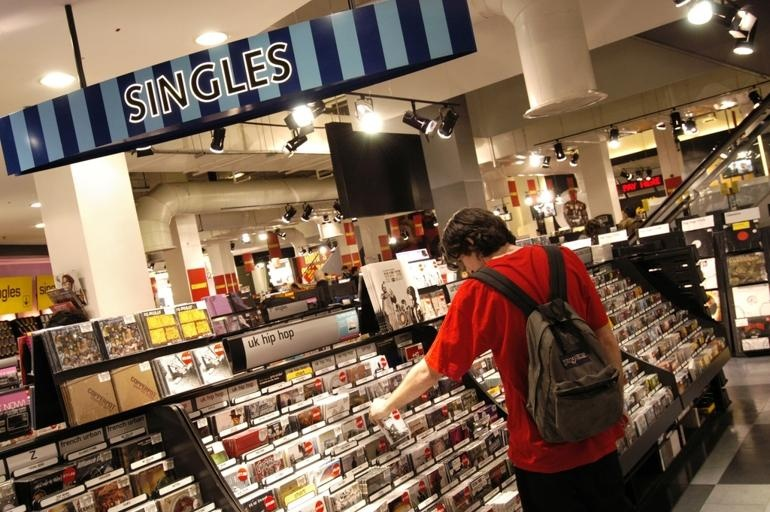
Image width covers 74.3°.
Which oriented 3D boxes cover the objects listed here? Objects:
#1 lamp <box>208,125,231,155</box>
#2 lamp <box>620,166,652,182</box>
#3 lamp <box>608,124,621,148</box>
[{"bbox_3d":[-2.674,-1.863,8.122,0.200,0.439,0.431,-12,1,-10],"label":"lamp"},{"bbox_3d":[12.208,-4.028,24.683,1.594,0.703,1.501,-3,0,37],"label":"lamp"},{"bbox_3d":[6.142,-3.252,13.643,0.224,0.503,0.547,-11,2,22],"label":"lamp"}]
